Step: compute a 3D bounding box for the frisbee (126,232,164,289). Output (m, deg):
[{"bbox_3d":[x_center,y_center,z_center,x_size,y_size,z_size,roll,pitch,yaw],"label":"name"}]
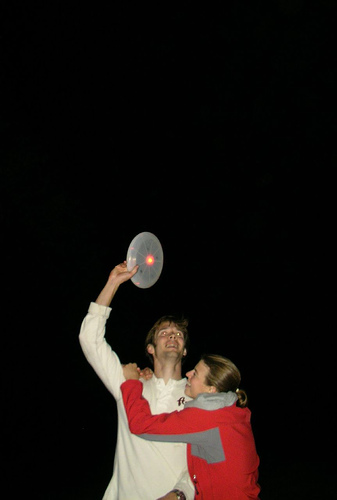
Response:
[{"bbox_3d":[-0.211,0.084,4.274,0.214,0.451,0.503,14,52,16],"label":"frisbee"}]
